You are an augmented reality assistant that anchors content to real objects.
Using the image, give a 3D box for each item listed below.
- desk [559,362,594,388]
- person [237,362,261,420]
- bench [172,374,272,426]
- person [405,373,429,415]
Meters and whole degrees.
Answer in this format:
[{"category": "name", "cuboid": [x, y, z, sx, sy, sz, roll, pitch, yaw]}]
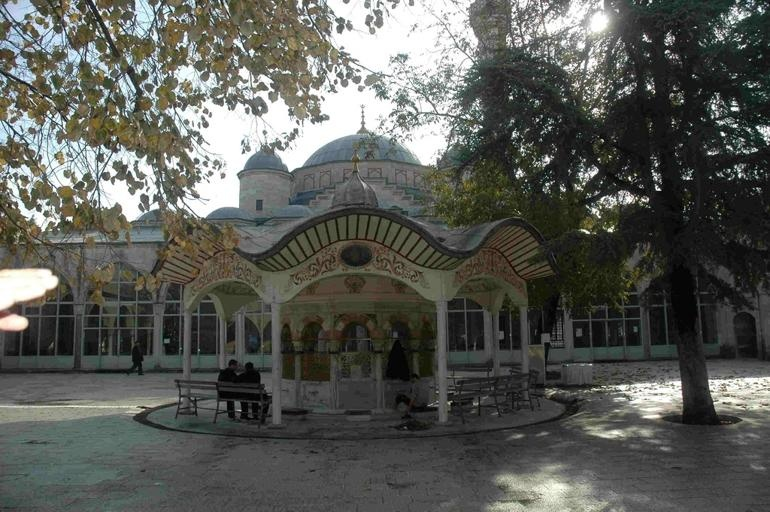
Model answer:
[{"category": "desk", "cuboid": [7.467, 4.609, 23.013, 0.922, 0.704, 0.939, 0, -3, 8]}, {"category": "person", "cuboid": [-3.796, 3.721, 16.486, 0.564, 1.544, 1.936, 2, -12, -13]}, {"category": "bench", "cuboid": [-4.371, 3.961, 16.224, 3.014, 1.122, 0.877, -4, -6, 28]}, {"category": "person", "cuboid": [0.934, 3.714, 16.149, 0.414, 1.033, 1.459, -3, -12, 10]}]
